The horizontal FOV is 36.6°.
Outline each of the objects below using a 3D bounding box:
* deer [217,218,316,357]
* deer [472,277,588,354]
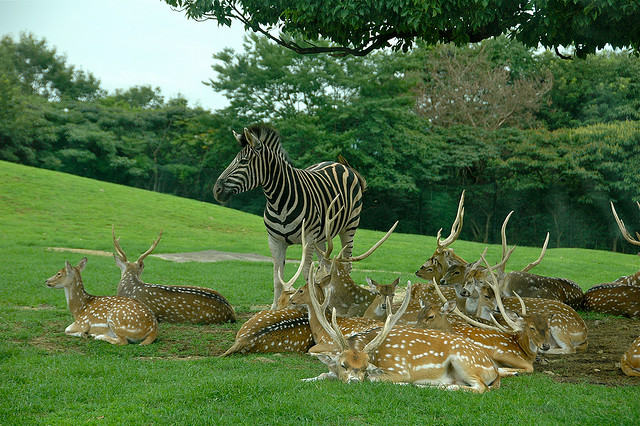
[{"bbox_3d":[-1.809,2.336,28.786,2.220,4.159,3.359,4,-1,-40],"label":"deer"},{"bbox_3d":[6.525,2.986,31.585,5.515,2.603,2.436,-2,-2,1],"label":"deer"}]
